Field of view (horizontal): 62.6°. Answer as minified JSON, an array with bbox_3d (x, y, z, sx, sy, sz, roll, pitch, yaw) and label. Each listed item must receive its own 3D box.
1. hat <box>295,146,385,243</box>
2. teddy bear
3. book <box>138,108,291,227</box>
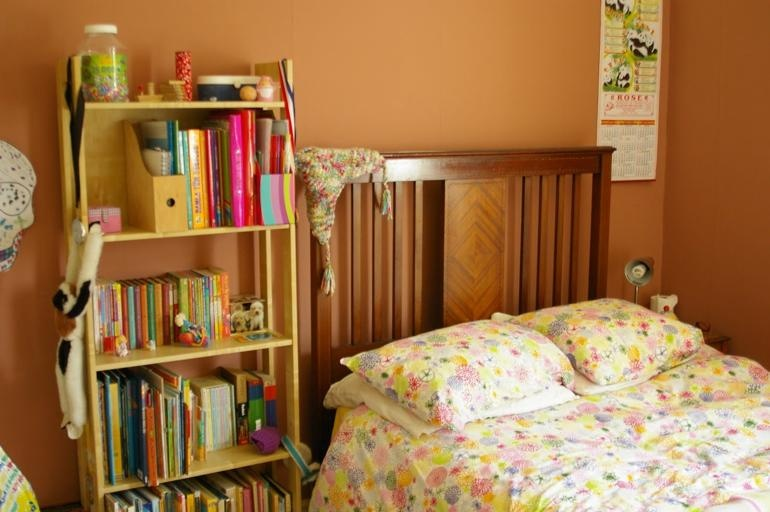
[{"bbox_3d":[-0.247,-0.284,2.920,0.424,0.434,0.115,-9,10,-31],"label":"hat"},{"bbox_3d":[-1.220,0.304,2.550,0.247,0.894,0.155,-9,15,-29],"label":"teddy bear"},{"bbox_3d":[-0.702,-0.365,2.683,0.611,0.480,0.220,-7,14,-21],"label":"book"}]
